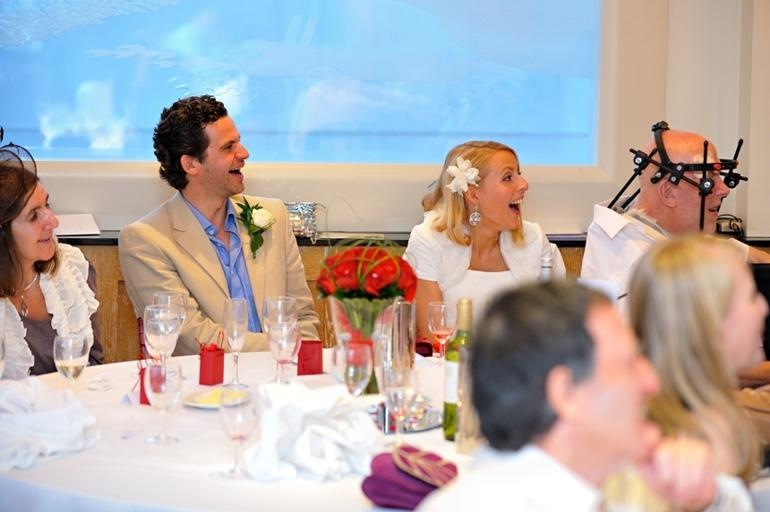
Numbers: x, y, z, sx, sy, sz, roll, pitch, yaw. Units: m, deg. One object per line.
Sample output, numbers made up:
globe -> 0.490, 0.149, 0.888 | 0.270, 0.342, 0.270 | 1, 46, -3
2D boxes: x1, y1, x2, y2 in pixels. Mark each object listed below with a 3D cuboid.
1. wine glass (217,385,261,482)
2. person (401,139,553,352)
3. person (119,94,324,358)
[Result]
wine glass -> -0.429, 0.470, 1.960 | 0.107, 0.249, 0.304 | -6, 9, -15
person -> 0.497, 0.053, 3.932 | 0.964, 1.363, 0.720 | -11, 22, -19
person -> -0.847, -0.066, 3.475 | 1.024, 1.384, 1.016 | -7, 13, -28
